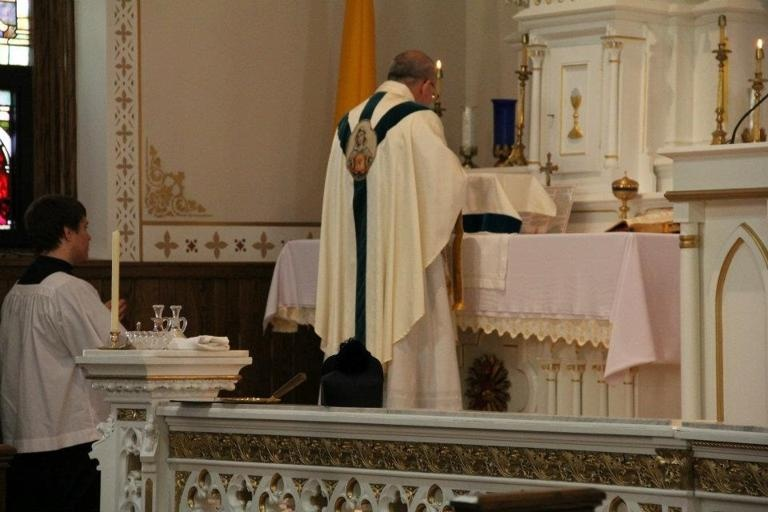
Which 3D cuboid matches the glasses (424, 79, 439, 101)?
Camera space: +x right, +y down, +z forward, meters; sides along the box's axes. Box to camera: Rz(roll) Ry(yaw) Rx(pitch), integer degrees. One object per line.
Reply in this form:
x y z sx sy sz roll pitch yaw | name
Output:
0.283 -0.937 9.151 0.041 0.141 0.135 1 -4 -12 | glasses

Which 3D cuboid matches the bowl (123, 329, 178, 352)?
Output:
-1.098 0.394 7.646 0.230 0.082 0.227 0 1 0 | bowl

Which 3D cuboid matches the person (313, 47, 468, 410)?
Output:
0.037 -0.153 9.002 0.836 1.953 0.484 0 1 43 | person
